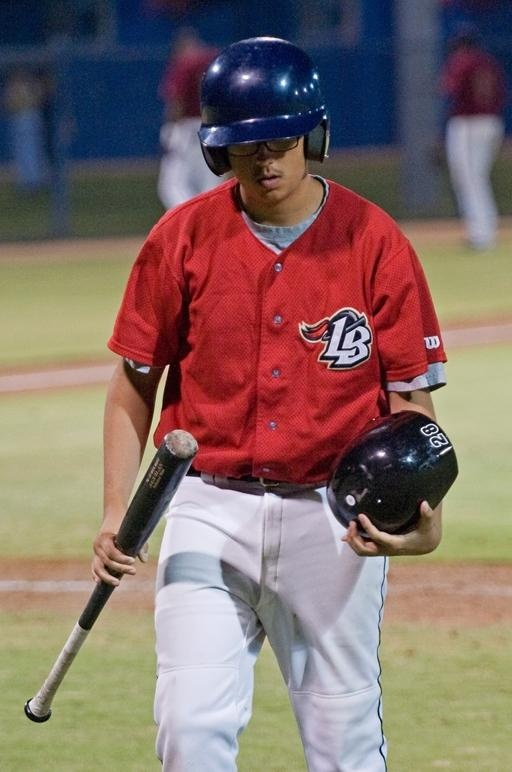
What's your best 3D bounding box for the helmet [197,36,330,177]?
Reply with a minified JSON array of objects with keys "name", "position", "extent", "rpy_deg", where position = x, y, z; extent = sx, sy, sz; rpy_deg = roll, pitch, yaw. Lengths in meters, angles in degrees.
[{"name":"helmet","position":[0.010,-0.518,1.859],"extent":[0.251,0.192,0.261],"rpy_deg":[-3,18,15]}]
